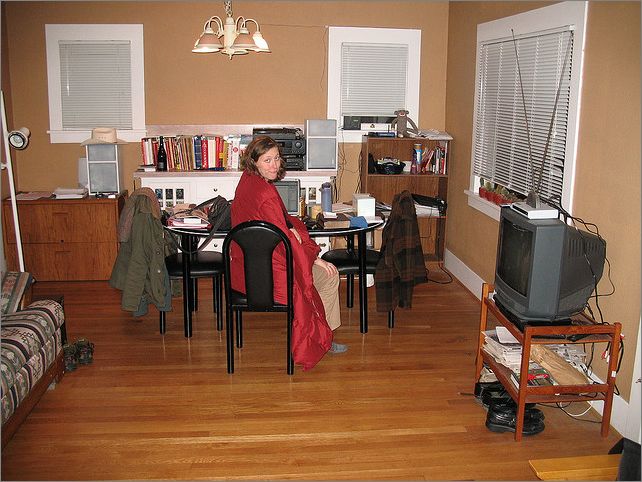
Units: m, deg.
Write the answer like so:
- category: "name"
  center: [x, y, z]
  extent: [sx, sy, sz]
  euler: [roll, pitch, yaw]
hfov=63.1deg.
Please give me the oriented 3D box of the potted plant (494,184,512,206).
- category: "potted plant"
  center: [1.715, -0.436, 5.011]
  extent: [0.190, 0.211, 0.182]
  euler: [0, 7, -4]

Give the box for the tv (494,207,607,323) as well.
- category: "tv"
  center: [1.416, 0.115, 3.437]
  extent: [0.682, 0.715, 0.713]
  euler: [-4, 10, 0]

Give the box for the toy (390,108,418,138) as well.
- category: "toy"
  center: [0.986, -1.404, 6.176]
  extent: [0.320, 0.322, 0.396]
  euler: [-1, 12, 4]

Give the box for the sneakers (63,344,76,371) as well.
- category: "sneakers"
  center: [-1.923, 0.890, 3.986]
  extent: [0.108, 0.181, 0.055]
  euler: [-1, -8, -36]

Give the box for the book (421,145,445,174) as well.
- category: "book"
  center: [1.320, -0.950, 6.106]
  extent: [0.293, 0.313, 0.125]
  euler: [0, 13, 9]

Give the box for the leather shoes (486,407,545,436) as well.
- category: "leather shoes"
  center: [1.243, 1.132, 3.322]
  extent: [0.269, 0.108, 0.192]
  euler: [-2, 25, 12]

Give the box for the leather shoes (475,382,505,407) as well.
- category: "leather shoes"
  center: [1.156, 1.052, 3.595]
  extent: [0.169, 0.068, 0.114]
  euler: [-7, 17, -11]

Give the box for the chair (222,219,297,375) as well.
- category: "chair"
  center: [-0.458, 0.429, 3.750]
  extent: [0.531, 1.210, 0.314]
  euler: [-3, 13, -6]

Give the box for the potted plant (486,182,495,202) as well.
- category: "potted plant"
  center: [1.682, -0.490, 5.177]
  extent: [0.082, 0.178, 0.274]
  euler: [2, 13, 18]

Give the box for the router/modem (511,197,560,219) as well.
- category: "router/modem"
  center: [1.310, -0.192, 3.199]
  extent: [0.224, 0.083, 0.248]
  euler: [-1, 12, 2]

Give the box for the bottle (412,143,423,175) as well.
- category: "bottle"
  center: [1.141, -0.981, 6.197]
  extent: [0.134, 0.334, 0.242]
  euler: [3, 14, 23]

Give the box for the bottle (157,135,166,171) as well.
- category: "bottle"
  center: [-1.766, -0.959, 5.737]
  extent: [0.102, 0.359, 0.088]
  euler: [-2, 13, 2]

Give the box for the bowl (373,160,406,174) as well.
- category: "bowl"
  center: [0.790, -0.848, 6.054]
  extent: [0.352, 0.166, 0.166]
  euler: [-2, 12, 1]

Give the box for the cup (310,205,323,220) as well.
- category: "cup"
  center: [-0.044, -0.259, 4.553]
  extent: [0.140, 0.142, 0.106]
  euler: [4, 14, 16]

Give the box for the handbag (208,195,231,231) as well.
- category: "handbag"
  center: [-0.792, -0.205, 4.218]
  extent: [0.195, 0.250, 0.098]
  euler: [-6, -33, 28]

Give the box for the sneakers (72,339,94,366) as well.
- category: "sneakers"
  center: [-1.850, 0.859, 4.056]
  extent: [0.137, 0.067, 0.186]
  euler: [-3, 47, -14]

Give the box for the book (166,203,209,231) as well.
- category: "book"
  center: [-1.116, -0.201, 4.349]
  extent: [0.320, 0.132, 0.597]
  euler: [-6, 13, -16]

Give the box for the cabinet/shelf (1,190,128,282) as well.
- category: "cabinet/shelf"
  center: [-2.694, -0.090, 5.864]
  extent: [1.518, 1.290, 0.869]
  euler: [-1, 9, -3]

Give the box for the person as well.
- category: "person"
  center: [-0.277, 0.103, 4.098]
  extent: [0.926, 1.755, 0.773]
  euler: [-10, 14, -32]
